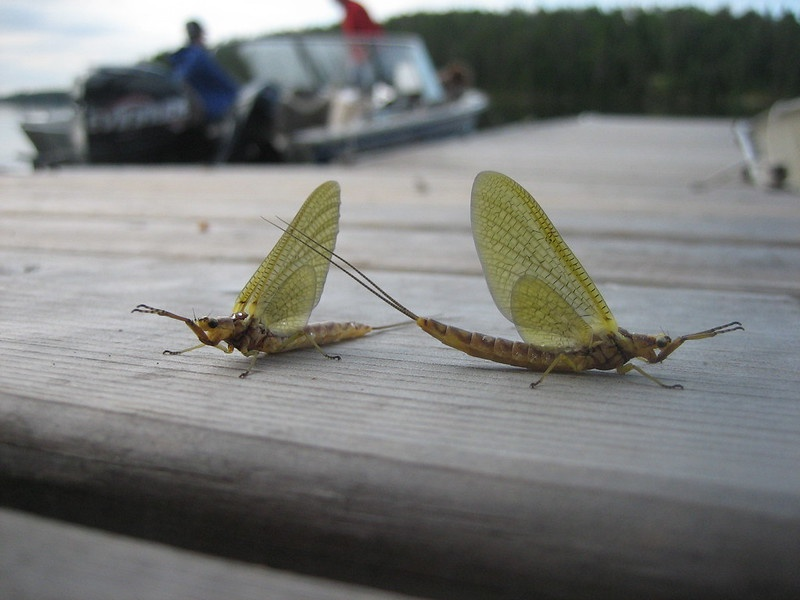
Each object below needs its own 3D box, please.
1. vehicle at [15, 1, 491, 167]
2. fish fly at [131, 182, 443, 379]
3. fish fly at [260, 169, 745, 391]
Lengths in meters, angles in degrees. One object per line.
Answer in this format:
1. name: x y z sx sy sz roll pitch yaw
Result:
1. vehicle: -0.356 -0.745 3.105 0.670 0.448 2.047 12 19 39
2. fish fly: -0.136 -0.033 1.244 0.575 0.250 0.206 -2 4 12
3. fish fly: 0.146 -0.015 1.154 0.647 0.279 0.287 -3 18 5
